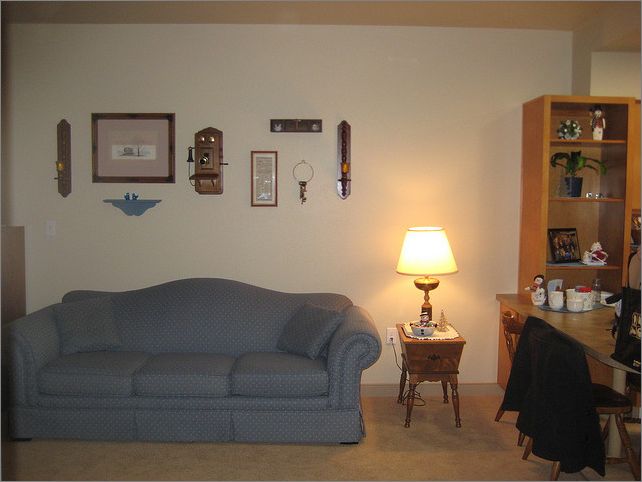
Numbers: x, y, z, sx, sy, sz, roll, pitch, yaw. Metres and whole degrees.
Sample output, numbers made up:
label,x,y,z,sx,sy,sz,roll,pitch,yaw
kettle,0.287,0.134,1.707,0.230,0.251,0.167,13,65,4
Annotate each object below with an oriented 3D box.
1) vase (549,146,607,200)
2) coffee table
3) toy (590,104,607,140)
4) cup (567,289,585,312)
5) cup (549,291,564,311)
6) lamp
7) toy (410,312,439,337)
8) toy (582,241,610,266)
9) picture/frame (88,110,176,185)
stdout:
label,x,y,z,sx,sy,sz,roll,pitch,yaw
vase,2.135,-0.585,5.022,0.429,0.320,0.433,3,-4,-1
coffee table,0.852,1.058,4.715,0.583,0.867,0.722,0,0,2
toy,2.283,-0.978,4.946,0.121,0.276,0.194,4,15,10
cup,1.996,0.472,4.769,0.175,0.175,0.107,3,-9,-8
cup,1.871,0.471,4.811,0.143,0.143,0.098,1,4,-1
lamp,0.879,0.271,5.028,0.474,0.778,0.429,3,14,9
toy,0.810,0.667,4.824,0.152,0.125,0.181,0,-4,0
toy,2.277,0.105,4.975,0.187,0.170,0.193,1,0,8
picture/frame,-1.644,-0.832,5.153,0.581,0.505,0.058,1,3,-5
